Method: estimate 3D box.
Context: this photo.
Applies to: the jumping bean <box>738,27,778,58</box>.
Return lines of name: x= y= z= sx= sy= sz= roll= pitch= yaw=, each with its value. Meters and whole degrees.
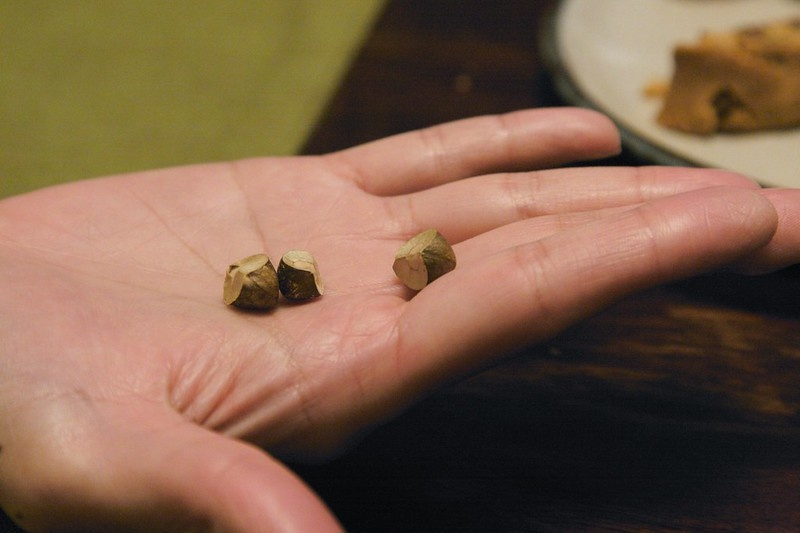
jumping bean: x=0.930 y=-0.582 z=2.228 sx=0.091 sy=0.036 sz=0.094 roll=-6 pitch=74 yaw=4

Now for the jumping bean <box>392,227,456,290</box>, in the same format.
jumping bean: x=0.047 y=-0.013 z=1.936 sx=0.141 sy=0.067 sz=0.120 roll=-36 pitch=74 yaw=-5

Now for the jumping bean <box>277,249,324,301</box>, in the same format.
jumping bean: x=-0.232 y=0.022 z=1.901 sx=0.085 sy=0.038 sz=0.114 roll=-1 pitch=94 yaw=4

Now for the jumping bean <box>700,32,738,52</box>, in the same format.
jumping bean: x=0.837 y=-0.590 z=2.225 sx=0.066 sy=0.024 sz=0.067 roll=3 pitch=39 yaw=11

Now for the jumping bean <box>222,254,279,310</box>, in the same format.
jumping bean: x=-0.326 y=0.042 z=1.886 sx=0.113 sy=0.072 sz=0.109 roll=8 pitch=55 yaw=34
